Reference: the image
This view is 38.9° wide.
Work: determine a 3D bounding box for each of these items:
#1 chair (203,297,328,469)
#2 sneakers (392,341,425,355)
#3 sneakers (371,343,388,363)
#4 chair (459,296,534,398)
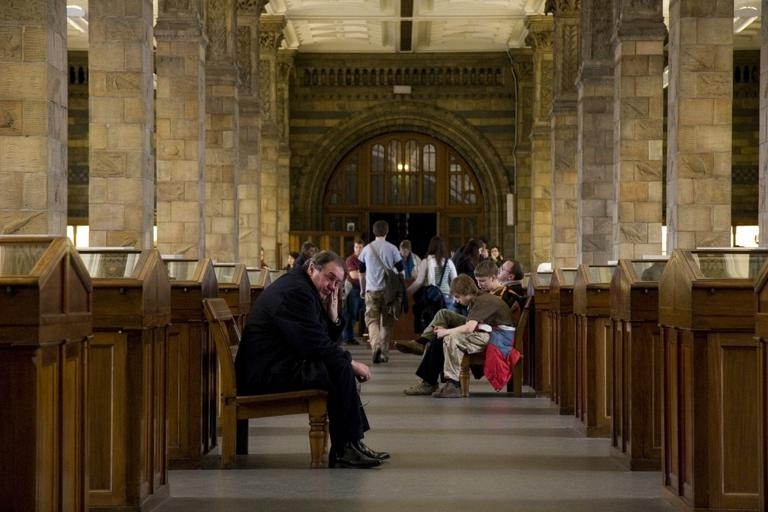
[{"bbox_3d":[-1.017,1.194,10.061,1.327,1.276,1.309,-4,-9,23],"label":"chair"},{"bbox_3d":[0.302,1.136,13.692,0.488,0.184,0.176,6,0,25],"label":"sneakers"},{"bbox_3d":[-0.055,1.442,16.227,0.148,0.151,0.365,0,-40,1],"label":"sneakers"},{"bbox_3d":[1.346,1.096,13.580,1.113,1.124,1.051,0,-1,-17],"label":"chair"}]
